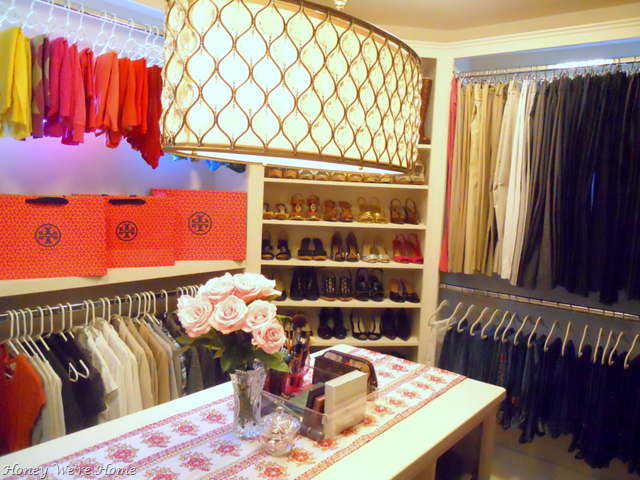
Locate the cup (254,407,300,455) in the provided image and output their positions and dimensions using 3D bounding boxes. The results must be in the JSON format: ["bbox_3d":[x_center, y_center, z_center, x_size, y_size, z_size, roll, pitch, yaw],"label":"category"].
[{"bbox_3d":[-0.141,0.644,1.644,0.137,0.151,0.140,0,1,0],"label":"cup"}]

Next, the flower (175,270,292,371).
[{"bbox_3d":[-0.281,0.297,1.542,0.358,0.355,0.226,-2,14,-19],"label":"flower"}]

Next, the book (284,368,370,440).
[{"bbox_3d":[0.052,0.600,1.684,0.217,0.152,0.233,5,9,44],"label":"book"}]

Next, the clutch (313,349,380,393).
[{"bbox_3d":[0.078,0.524,1.908,0.158,0.111,0.141,13,-17,31],"label":"clutch"}]

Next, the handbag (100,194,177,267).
[{"bbox_3d":[-1.004,-0.060,2.541,0.343,0.377,0.354,-1,2,-24],"label":"handbag"}]

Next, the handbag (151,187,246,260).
[{"bbox_3d":[-0.737,-0.092,2.892,0.691,0.549,0.373,-2,5,-41],"label":"handbag"}]
